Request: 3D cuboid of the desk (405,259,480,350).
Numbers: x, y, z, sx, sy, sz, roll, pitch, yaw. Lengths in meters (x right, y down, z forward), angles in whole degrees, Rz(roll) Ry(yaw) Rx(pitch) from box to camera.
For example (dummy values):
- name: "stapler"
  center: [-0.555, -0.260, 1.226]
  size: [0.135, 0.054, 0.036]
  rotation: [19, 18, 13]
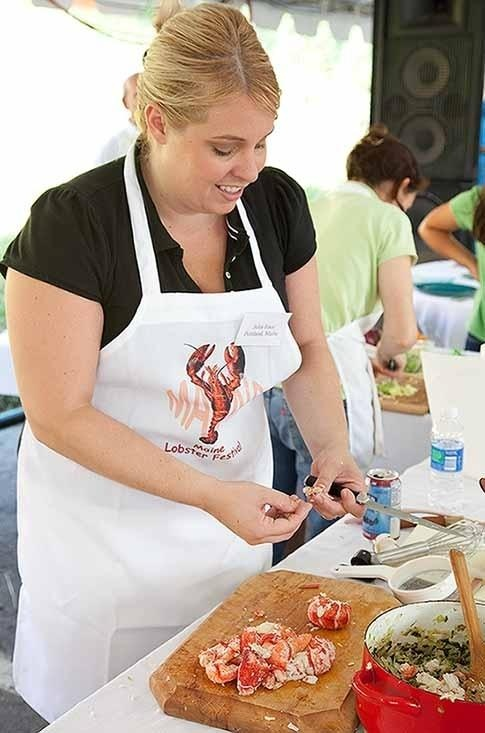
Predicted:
- name: "desk"
  center: [1.176, -0.421, 4.010]
  size: [0.406, 0.561, 0.432]
  rotation: [9, 17, 25]

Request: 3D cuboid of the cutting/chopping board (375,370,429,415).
- name: "cutting/chopping board"
  center: [0.586, 0.106, 2.388]
  size: [0.161, 0.025, 0.209]
  rotation: [9, 20, 26]

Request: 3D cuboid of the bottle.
- name: "bottle"
  center: [0.473, 0.225, 1.509]
  size: [0.094, 0.240, 0.091]
  rotation: [2, 17, -1]

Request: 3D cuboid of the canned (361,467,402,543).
- name: "canned"
  center: [0.261, 0.270, 1.288]
  size: [0.071, 0.119, 0.086]
  rotation: [1, 13, 5]
